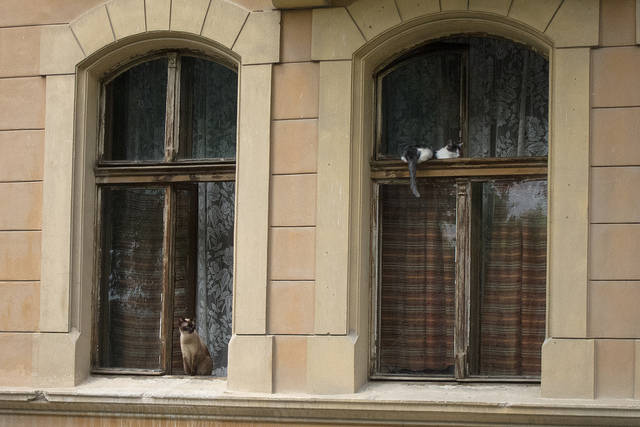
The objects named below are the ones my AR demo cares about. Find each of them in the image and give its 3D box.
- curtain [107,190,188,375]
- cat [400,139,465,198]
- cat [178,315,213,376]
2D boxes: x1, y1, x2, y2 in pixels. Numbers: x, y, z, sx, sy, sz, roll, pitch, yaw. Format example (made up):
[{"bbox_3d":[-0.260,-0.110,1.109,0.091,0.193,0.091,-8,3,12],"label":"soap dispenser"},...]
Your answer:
[{"bbox_3d":[-1.994,0.797,15.377,0.905,2.110,0.305,0,-6,-6],"label":"curtain"},{"bbox_3d":[1.257,-0.510,14.912,0.712,0.656,0.242,-1,-6,3],"label":"cat"},{"bbox_3d":[-1.428,1.529,15.239,0.394,0.674,0.243,0,-6,-6],"label":"cat"}]
